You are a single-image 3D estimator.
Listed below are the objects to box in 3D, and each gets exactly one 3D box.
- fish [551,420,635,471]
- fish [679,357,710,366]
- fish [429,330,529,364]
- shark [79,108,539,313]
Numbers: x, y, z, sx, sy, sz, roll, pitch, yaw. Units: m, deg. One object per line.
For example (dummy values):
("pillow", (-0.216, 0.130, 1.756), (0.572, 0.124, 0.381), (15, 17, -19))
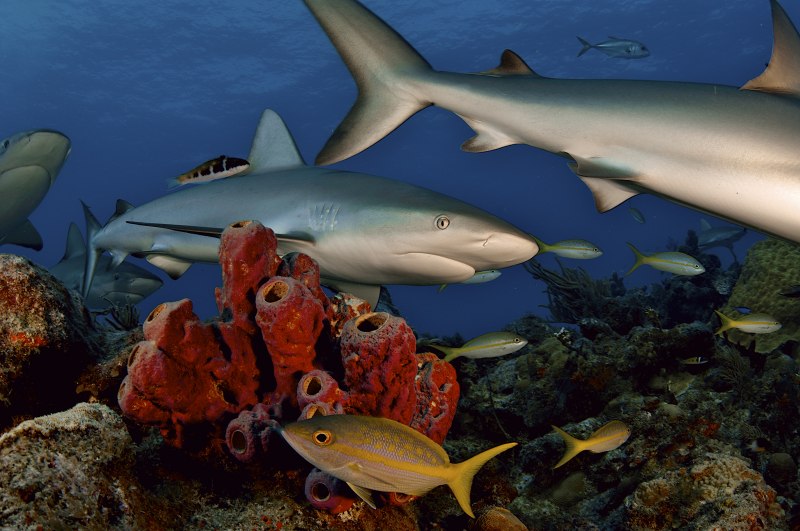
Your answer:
("fish", (5.323, 4.716, 22.830), (2.081, 1.064, 0.391), (-13, 29, -8))
("fish", (8.729, 2.880, 24.843), (1.039, 0.326, 0.271), (-1, 10, 10))
("fish", (2.558, 2.421, 24.559), (2.447, 0.743, 0.400), (-10, 28, -4))
("shark", (-4.327, -1.239, 24.894), (16.788, 4.713, 4.477), (0, -2, 7))
